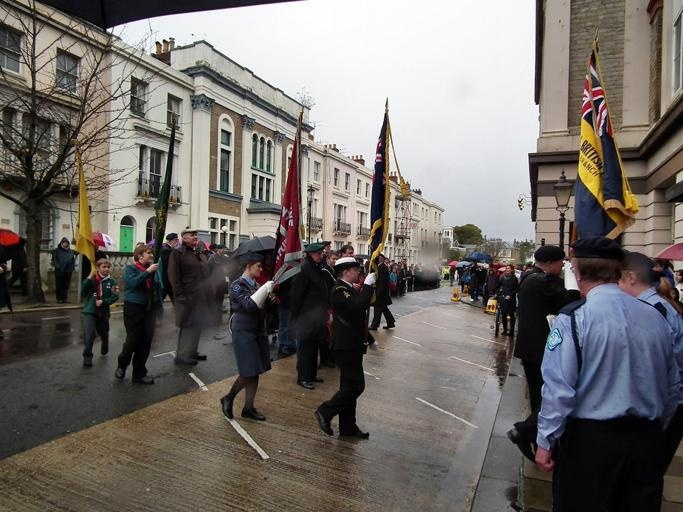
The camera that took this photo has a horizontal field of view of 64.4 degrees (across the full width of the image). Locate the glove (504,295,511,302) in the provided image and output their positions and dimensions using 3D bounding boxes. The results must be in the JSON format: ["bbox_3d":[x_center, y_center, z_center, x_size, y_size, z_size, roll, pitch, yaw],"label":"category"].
[{"bbox_3d":[4.544,1.160,14.839,0.058,0.150,0.100,9,2,-45],"label":"glove"}]

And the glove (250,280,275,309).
[{"bbox_3d":[-1.067,0.526,7.473,0.138,0.379,0.265,41,-26,-3],"label":"glove"}]

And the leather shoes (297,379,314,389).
[{"bbox_3d":[-0.577,2.101,8.841,0.271,0.127,0.104,2,-3,23],"label":"leather shoes"}]

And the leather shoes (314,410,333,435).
[{"bbox_3d":[-0.219,2.202,7.164,0.249,0.367,0.279,2,6,-3],"label":"leather shoes"}]

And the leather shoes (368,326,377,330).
[{"bbox_3d":[0.823,1.897,14.155,0.226,0.107,0.081,14,-4,23],"label":"leather shoes"}]

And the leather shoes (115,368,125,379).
[{"bbox_3d":[-3.629,1.911,8.880,0.147,0.206,0.256,0,6,-21],"label":"leather shoes"}]

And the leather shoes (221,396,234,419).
[{"bbox_3d":[-1.565,2.096,7.516,0.138,0.348,0.120,-15,-9,17],"label":"leather shoes"}]

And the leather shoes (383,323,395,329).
[{"bbox_3d":[1.341,1.964,15.063,0.343,0.167,0.124,-3,-5,2],"label":"leather shoes"}]

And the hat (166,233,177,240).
[{"bbox_3d":[-3.548,-0.413,11.454,0.169,0.092,0.243,3,7,23],"label":"hat"}]

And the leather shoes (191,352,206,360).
[{"bbox_3d":[-2.676,1.904,10.198,0.094,0.126,0.296,2,-2,24],"label":"leather shoes"}]

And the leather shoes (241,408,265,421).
[{"bbox_3d":[-1.226,2.213,7.574,0.373,0.169,0.145,3,-4,18],"label":"leather shoes"}]

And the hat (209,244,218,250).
[{"bbox_3d":[-3.609,-0.240,15.183,0.162,0.123,0.160,-2,3,1],"label":"hat"}]

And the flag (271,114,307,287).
[{"bbox_3d":[-0.742,-0.763,7.693,0.434,2.432,0.981,1,6,-6],"label":"flag"}]

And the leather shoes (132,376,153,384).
[{"bbox_3d":[-3.208,2.029,8.781,0.366,0.150,0.143,-4,-7,13],"label":"leather shoes"}]

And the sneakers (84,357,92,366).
[{"bbox_3d":[-4.459,1.884,9.526,0.153,0.165,0.100,-9,-13,-1],"label":"sneakers"}]

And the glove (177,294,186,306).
[{"bbox_3d":[-2.851,0.771,9.661,0.138,0.163,0.052,0,6,-20],"label":"glove"}]

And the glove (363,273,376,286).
[{"bbox_3d":[0.382,0.296,7.088,0.055,0.159,0.118,16,-25,43],"label":"glove"}]

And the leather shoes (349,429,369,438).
[{"bbox_3d":[0.234,2.369,7.219,0.241,0.114,0.093,-1,-4,15],"label":"leather shoes"}]

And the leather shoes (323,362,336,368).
[{"bbox_3d":[-0.229,2.091,10.362,0.248,0.110,0.097,-2,-5,21],"label":"leather shoes"}]
